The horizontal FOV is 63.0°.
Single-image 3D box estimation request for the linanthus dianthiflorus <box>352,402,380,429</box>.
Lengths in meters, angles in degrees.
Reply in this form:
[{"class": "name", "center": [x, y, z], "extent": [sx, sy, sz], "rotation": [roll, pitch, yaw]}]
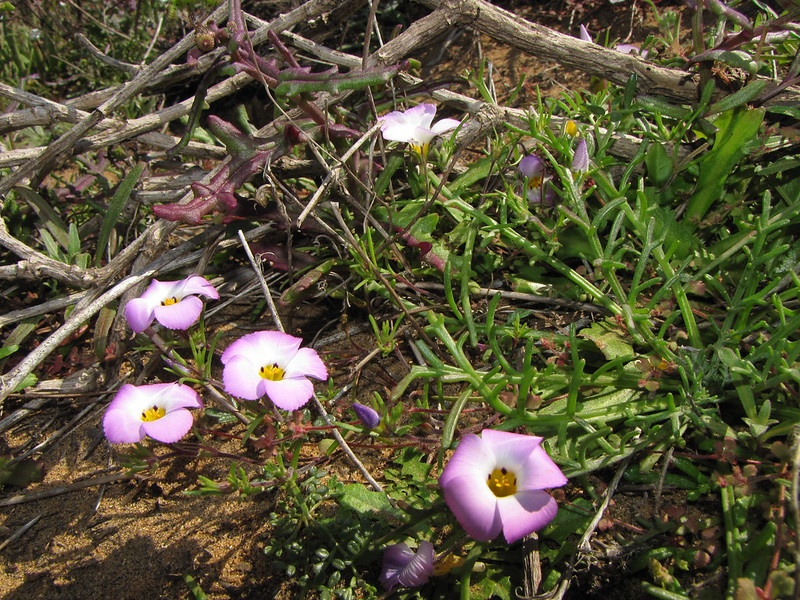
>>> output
[{"class": "linanthus dianthiflorus", "center": [-0.095, 0.342, 1.924], "extent": [0.098, 0.041, 0.055], "rotation": [33, -73, -15]}]
